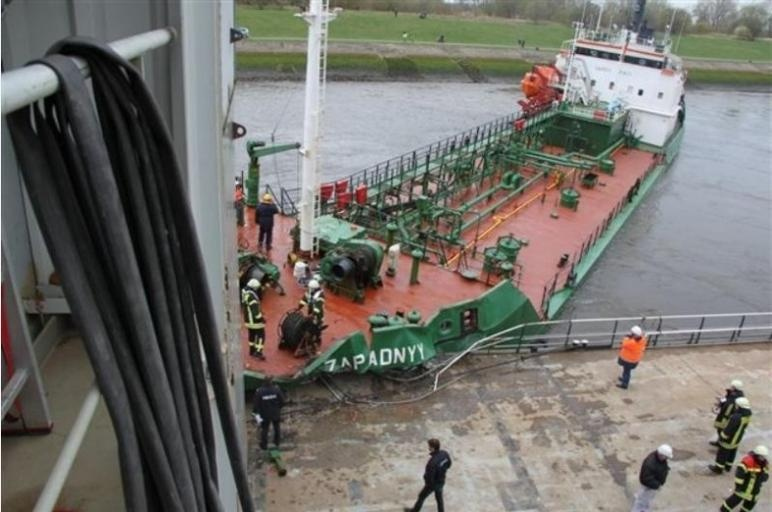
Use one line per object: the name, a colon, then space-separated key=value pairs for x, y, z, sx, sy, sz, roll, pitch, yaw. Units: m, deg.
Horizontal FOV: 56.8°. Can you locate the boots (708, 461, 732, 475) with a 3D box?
boots: x=5.600 y=3.567 z=11.964 sx=0.259 sy=0.184 sz=0.103 roll=22 pitch=45 yaw=22

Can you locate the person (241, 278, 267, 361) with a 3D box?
person: x=-2.446 y=1.029 z=13.101 sx=0.369 sy=1.427 sz=1.409 roll=-5 pitch=23 yaw=-12

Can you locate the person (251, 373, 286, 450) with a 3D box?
person: x=-1.852 y=2.447 z=11.268 sx=0.460 sy=1.234 sz=0.332 roll=-6 pitch=18 yaw=-21

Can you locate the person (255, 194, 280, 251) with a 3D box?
person: x=-2.753 y=-0.823 z=16.374 sx=0.486 sy=1.306 sz=0.439 roll=-1 pitch=24 yaw=-19

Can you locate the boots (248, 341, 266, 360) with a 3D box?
boots: x=-2.296 y=1.706 z=12.734 sx=0.198 sy=0.363 sz=0.364 roll=20 pitch=58 yaw=8

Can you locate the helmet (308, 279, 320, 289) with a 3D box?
helmet: x=-1.310 y=0.549 z=13.027 sx=0.173 sy=0.174 sz=0.206 roll=10 pitch=24 yaw=-7

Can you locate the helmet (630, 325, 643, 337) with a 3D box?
helmet: x=4.690 y=1.411 z=13.329 sx=0.206 sy=0.239 sz=0.226 roll=4 pitch=-7 yaw=-8

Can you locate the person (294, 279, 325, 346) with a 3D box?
person: x=-1.376 y=1.010 z=13.330 sx=0.484 sy=1.324 sz=0.942 roll=-2 pitch=23 yaw=-6

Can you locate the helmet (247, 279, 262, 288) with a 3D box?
helmet: x=-2.455 y=0.503 z=13.257 sx=0.139 sy=0.129 sz=0.170 roll=-31 pitch=-1 yaw=7

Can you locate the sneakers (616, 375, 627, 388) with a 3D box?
sneakers: x=4.610 y=2.466 z=13.984 sx=0.256 sy=0.221 sz=0.212 roll=2 pitch=13 yaw=-1

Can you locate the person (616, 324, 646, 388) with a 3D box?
person: x=4.666 y=1.925 z=13.669 sx=0.414 sy=1.420 sz=0.446 roll=5 pitch=24 yaw=10
